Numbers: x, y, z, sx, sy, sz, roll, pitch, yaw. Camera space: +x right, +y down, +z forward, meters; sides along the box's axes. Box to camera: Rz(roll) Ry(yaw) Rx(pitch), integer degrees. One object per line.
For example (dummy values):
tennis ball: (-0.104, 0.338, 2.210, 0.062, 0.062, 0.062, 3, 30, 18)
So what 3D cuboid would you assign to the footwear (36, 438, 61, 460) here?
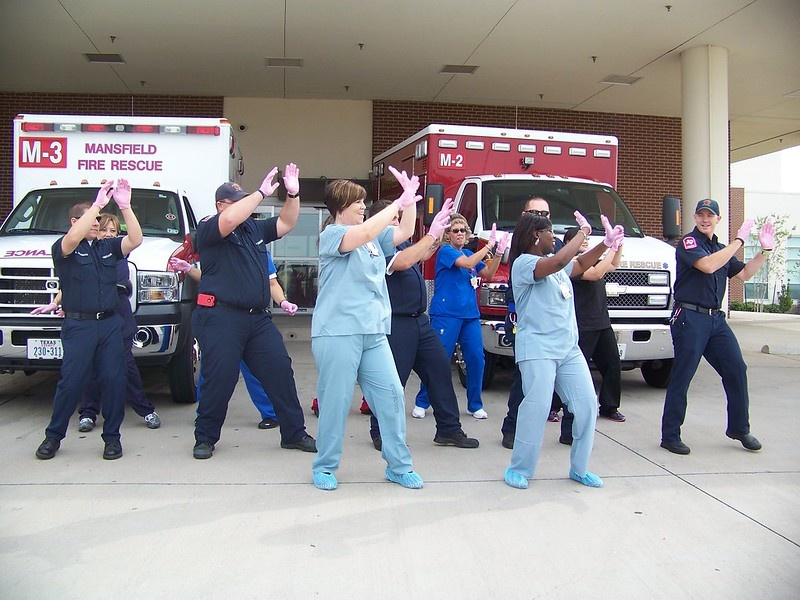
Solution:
footwear: (-2.914, 1.217, 5.287, 0.133, 0.160, 0.236, 3, 7, 13)

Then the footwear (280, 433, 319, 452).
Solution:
footwear: (-0.869, 1.245, 5.594, 0.373, 0.156, 0.140, -2, -2, 19)

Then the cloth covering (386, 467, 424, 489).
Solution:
cloth covering: (0.038, 1.348, 4.846, 0.267, 0.107, 0.121, 1, 3, 32)

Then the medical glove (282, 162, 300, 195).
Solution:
medical glove: (-0.856, -0.938, 4.977, 0.096, 0.264, 0.299, -1, 7, -14)

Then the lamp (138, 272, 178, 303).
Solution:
lamp: (-2.399, -0.118, 6.225, 0.305, 0.217, 0.051, 1, -3, -39)

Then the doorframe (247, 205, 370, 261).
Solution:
doorframe: (-2.427, -1.409, 13.722, 1.799, 1.271, 0.086, 11, 0, 39)

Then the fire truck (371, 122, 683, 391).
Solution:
fire truck: (1.581, -0.895, 9.922, 3.183, 3.448, 6.552, 2, 3, -7)

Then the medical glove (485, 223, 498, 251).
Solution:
medical glove: (1.010, -0.675, 6.993, 0.145, 0.118, 0.397, 20, -13, 12)

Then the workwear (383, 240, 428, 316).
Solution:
workwear: (0.031, -0.188, 5.653, 0.374, 0.664, 0.690, -6, -4, 18)

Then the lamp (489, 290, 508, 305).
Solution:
lamp: (1.087, -0.015, 7.040, 0.250, 0.170, 0.138, 1, 2, 4)

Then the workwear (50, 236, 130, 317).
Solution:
workwear: (-2.632, -0.220, 5.388, 0.357, 0.660, 0.668, -1, 0, 33)

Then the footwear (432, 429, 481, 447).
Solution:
footwear: (0.510, 1.241, 5.767, 0.433, 0.212, 0.146, 0, -1, 4)

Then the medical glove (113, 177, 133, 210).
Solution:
medical glove: (-2.345, -0.883, 5.336, 0.126, 0.255, 0.259, -2, 7, -25)

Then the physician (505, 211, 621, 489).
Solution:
physician: (1.203, 0.378, 4.844, 0.738, 2.054, 0.539, 1, 6, 4)
